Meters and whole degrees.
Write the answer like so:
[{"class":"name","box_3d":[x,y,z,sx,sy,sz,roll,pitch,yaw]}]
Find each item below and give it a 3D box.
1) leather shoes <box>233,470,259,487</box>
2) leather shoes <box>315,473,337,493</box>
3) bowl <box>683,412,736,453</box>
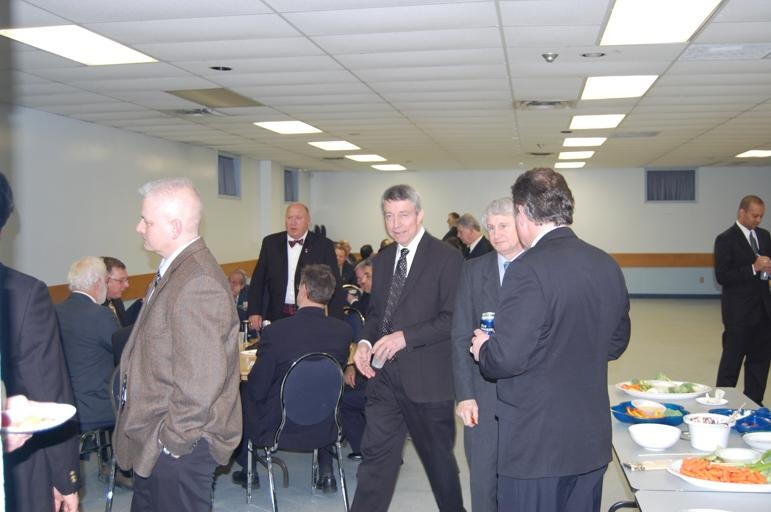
[{"class":"leather shoes","box_3d":[-1.180,1.895,4.906,0.265,0.109,0.123,5,-1,30]},{"class":"leather shoes","box_3d":[-0.503,1.902,4.799,0.189,0.124,0.112,-4,-5,29]},{"class":"bowl","box_3d":[1.781,0.967,3.135,0.251,0.153,0.245,0,-3,0]}]
